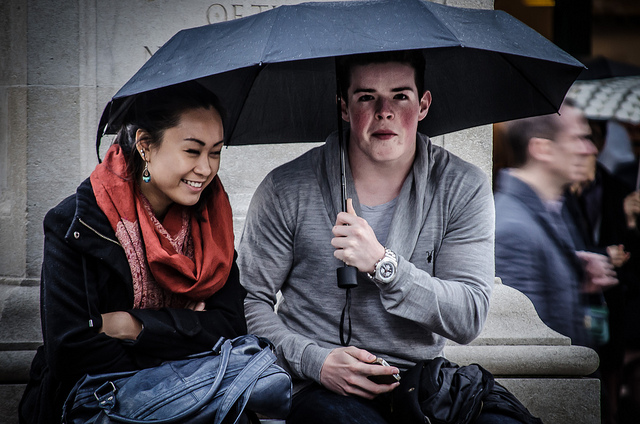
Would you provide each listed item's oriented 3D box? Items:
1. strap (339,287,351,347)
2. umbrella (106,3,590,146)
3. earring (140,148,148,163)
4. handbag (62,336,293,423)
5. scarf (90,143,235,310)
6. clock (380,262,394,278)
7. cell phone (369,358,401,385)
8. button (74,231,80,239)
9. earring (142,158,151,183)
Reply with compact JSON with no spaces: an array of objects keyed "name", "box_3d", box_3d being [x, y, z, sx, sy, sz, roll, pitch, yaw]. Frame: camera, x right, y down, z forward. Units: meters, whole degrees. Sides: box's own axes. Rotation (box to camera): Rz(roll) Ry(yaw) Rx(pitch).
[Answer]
[{"name":"strap","box_3d":[0.170,0.680,5.009,0.071,0.363,0.083,6,9,33]},{"name":"umbrella","box_3d":[0.233,-0.834,4.967,2.809,0.887,1.329,2,7,9]},{"name":"earring","box_3d":[-1.099,-0.346,4.875,0.028,0.099,0.024,-31,10,-35]},{"name":"handbag","box_3d":[-0.791,1.008,4.473,0.893,0.282,0.595,-3,0,0]},{"name":"scarf","box_3d":[-1.076,-0.005,5.049,1.032,1.235,0.454,-3,-37,-30]},{"name":"clock","box_3d":[0.409,0.359,4.761,0.112,0.098,0.037,1,-2,-11]},{"name":"cell phone","box_3d":[0.402,0.991,4.801,0.168,0.146,0.080,5,9,31]},{"name":"button","box_3d":[-1.451,0.142,4.631,0.046,0.040,0.013,1,-8,-29]},{"name":"earring","box_3d":[-1.084,-0.242,4.863,0.049,0.127,0.040,-1,8,-14]}]
